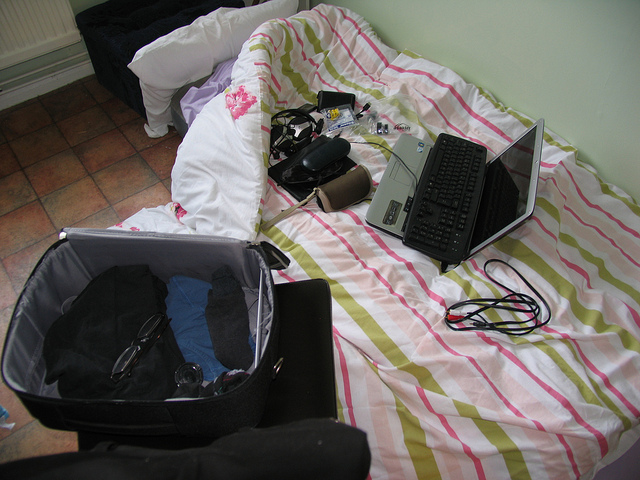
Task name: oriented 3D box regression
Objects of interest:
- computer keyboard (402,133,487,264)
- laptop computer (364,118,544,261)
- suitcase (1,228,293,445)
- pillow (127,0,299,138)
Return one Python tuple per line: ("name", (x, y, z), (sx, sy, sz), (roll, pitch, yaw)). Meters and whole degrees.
("computer keyboard", (0.482, -0.229, 1.878), (0.207, 0.527, 0.075), (19, 57, 12))
("laptop computer", (0.491, -0.257, 1.809), (0.495, 0.357, 0.572), (22, 51, 10))
("suitcase", (-0.520, 0.367, 1.634), (0.764, 0.304, 0.673), (8, 59, 0))
("pillow", (-0.465, -0.755, 2.244), (0.749, 0.251, 0.390), (-39, 61, -23))
